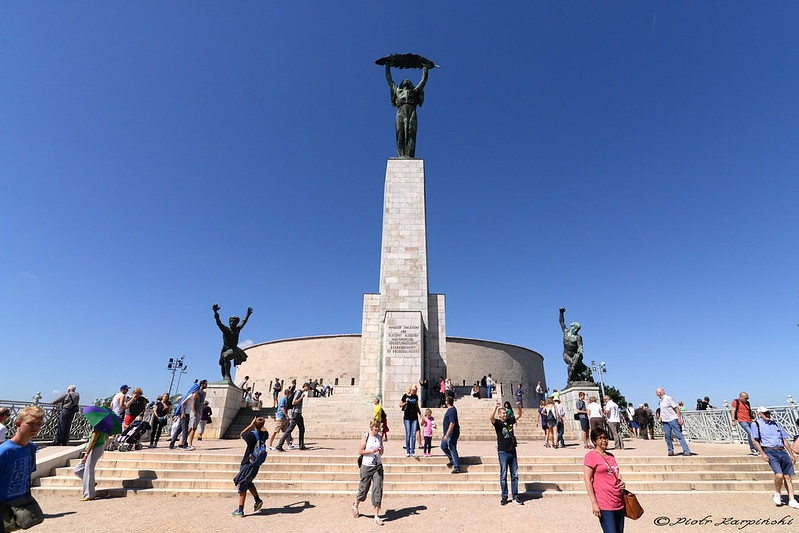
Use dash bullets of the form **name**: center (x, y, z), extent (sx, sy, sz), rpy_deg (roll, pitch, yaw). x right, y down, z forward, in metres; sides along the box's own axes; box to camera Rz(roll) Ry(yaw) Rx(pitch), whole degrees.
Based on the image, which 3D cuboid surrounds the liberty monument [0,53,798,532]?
- **liberty monument**: center (-1.200, 2.927, 28.668), extent (25.724, 15.834, 25.365), rpy_deg (2, -8, -13)

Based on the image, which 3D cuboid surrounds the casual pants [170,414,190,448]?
- **casual pants**: center (-6.424, 4.736, 12.793), extent (0.427, 0.919, 0.563), rpy_deg (10, -25, -25)

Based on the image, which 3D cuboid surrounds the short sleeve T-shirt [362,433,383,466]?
- **short sleeve T-shirt**: center (-0.559, 3.571, 8.686), extent (0.502, 0.641, 0.355), rpy_deg (10, -30, -17)

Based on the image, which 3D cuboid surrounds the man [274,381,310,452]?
- **man**: center (-3.034, 4.189, 12.967), extent (0.862, 1.536, 0.552), rpy_deg (10, -9, 12)

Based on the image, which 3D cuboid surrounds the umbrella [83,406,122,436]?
- **umbrella**: center (-6.274, 3.177, 9.222), extent (0.722, 0.562, 0.339), rpy_deg (14, -27, -33)

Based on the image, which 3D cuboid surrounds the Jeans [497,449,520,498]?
- **Jeans**: center (2.312, 4.333, 9.251), extent (0.372, 0.933, 0.692), rpy_deg (-5, -23, 11)

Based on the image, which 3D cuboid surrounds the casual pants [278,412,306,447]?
- **casual pants**: center (-3.087, 4.675, 12.594), extent (0.663, 0.954, 1.049), rpy_deg (2, -23, -7)

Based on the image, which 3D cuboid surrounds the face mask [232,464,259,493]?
- **face mask**: center (-3.090, 4.166, 8.764), extent (0.381, 0.505, 0.257), rpy_deg (7, -23, -19)

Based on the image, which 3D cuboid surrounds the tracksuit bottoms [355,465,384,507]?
- **tracksuit bottoms**: center (-0.626, 4.312, 8.789), extent (0.440, 0.748, 0.775), rpy_deg (5, -23, -13)

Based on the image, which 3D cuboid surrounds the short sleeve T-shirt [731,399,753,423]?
- **short sleeve T-shirt**: center (8.462, 3.496, 10.770), extent (0.365, 0.558, 0.624), rpy_deg (-16, -27, 33)

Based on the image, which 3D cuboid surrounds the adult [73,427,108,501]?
- **adult**: center (-6.652, 4.192, 9.356), extent (0.524, 1.335, 1.310), rpy_deg (14, -27, -32)

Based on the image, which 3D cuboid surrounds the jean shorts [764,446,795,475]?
- **jean shorts**: center (7.990, 3.988, 9.110), extent (0.584, 0.501, 0.296), rpy_deg (9, -24, -22)

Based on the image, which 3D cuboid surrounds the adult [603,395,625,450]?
- **adult**: center (6.738, 4.868, 13.781), extent (0.585, 1.461, 0.455), rpy_deg (13, -31, -20)

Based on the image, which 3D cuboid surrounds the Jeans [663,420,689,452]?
- **Jeans**: center (7.393, 4.532, 11.953), extent (0.333, 0.878, 0.220), rpy_deg (16, -4, 4)

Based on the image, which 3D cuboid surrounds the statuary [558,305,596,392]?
- **statuary**: center (6.635, 2.914, 16.505), extent (0.900, 2.876, 1.355), rpy_deg (-7, -23, 16)

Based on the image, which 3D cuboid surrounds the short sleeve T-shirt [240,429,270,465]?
- **short sleeve T-shirt**: center (-2.862, 3.677, 8.975), extent (0.467, 0.570, 0.334), rpy_deg (7, -10, -43)

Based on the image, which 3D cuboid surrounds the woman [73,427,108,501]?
- **woman**: center (-6.660, 4.197, 9.366), extent (0.524, 1.335, 1.336), rpy_deg (14, -27, -32)

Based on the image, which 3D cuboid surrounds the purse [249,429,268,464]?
- **purse**: center (-2.892, 3.648, 8.957), extent (0.323, 0.612, 0.365), rpy_deg (9, -4, -20)
